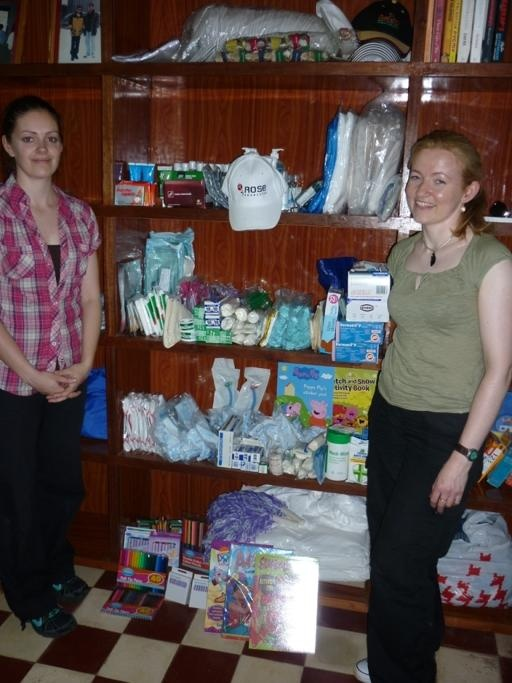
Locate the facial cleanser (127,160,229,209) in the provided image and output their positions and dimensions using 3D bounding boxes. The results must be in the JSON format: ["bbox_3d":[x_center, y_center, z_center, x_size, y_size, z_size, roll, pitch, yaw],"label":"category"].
[{"bbox_3d":[-0.254,-0.522,1.798,0.329,0.145,0.221,-2,15,-13],"label":"facial cleanser"}]

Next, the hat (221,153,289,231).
[{"bbox_3d":[-0.014,-0.469,1.695,0.162,0.236,0.185,0,23,-11],"label":"hat"}]

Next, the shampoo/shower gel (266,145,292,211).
[{"bbox_3d":[0.057,-0.524,1.751,0.064,0.149,0.045,20,35,31],"label":"shampoo/shower gel"}]

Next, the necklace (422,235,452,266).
[{"bbox_3d":[0.431,-0.219,1.299,0.007,0.067,0.041,28,-8,-27],"label":"necklace"}]
